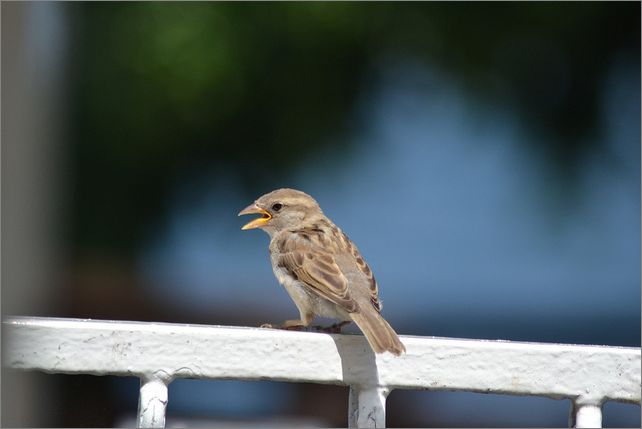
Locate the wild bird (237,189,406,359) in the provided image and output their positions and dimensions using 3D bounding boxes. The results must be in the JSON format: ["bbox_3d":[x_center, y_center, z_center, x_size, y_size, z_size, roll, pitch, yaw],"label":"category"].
[{"bbox_3d":[0.076,0.364,5.111,0.543,1.517,0.899,-1,-83,-38],"label":"wild bird"}]
